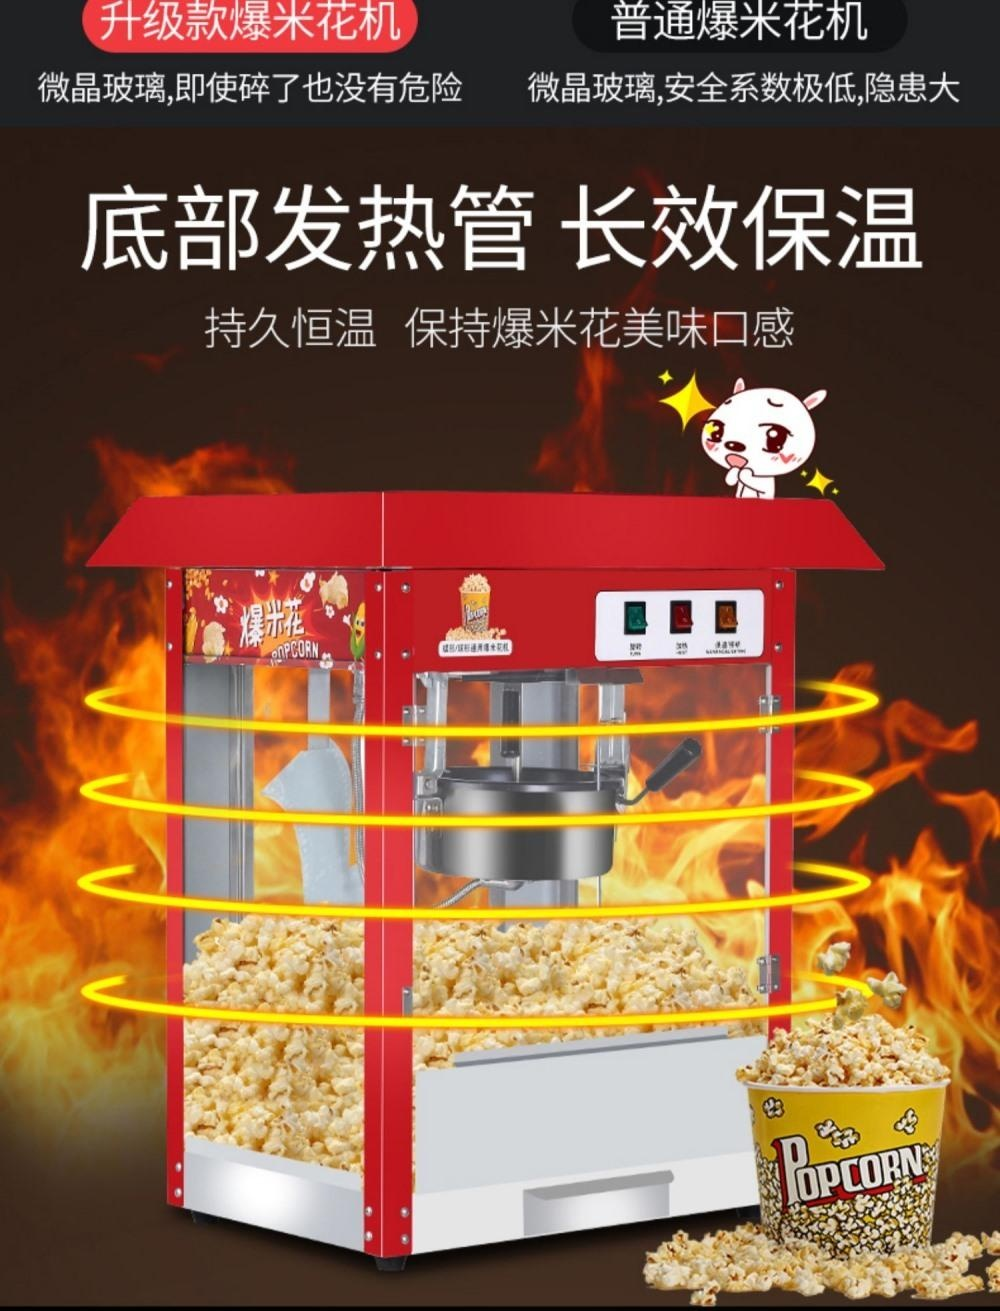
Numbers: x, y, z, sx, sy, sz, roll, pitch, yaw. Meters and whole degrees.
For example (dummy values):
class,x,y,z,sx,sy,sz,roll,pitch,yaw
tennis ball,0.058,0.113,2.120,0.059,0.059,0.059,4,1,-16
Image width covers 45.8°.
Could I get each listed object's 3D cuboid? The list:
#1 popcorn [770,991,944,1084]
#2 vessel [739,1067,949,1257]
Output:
class,x,y,z,sx,sy,sz,roll,pitch,yaw
popcorn,0.683,0.762,2.431,0.189,0.097,0.202,10,24,0
vessel,0.706,1.020,2.447,0.426,0.322,0.423,3,-8,-21
